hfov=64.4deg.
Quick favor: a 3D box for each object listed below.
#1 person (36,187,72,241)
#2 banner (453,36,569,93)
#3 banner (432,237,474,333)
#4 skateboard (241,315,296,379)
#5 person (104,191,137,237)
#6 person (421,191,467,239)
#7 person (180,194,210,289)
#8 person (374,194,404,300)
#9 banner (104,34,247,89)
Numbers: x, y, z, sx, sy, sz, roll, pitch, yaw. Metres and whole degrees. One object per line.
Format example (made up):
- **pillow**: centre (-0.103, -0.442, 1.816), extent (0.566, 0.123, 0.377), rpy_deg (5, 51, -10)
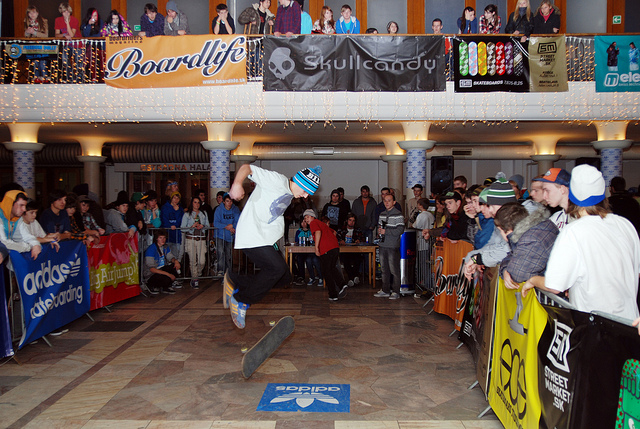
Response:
- **person**: centre (-5.159, 0.054, 9.975), extent (0.579, 1.050, 0.509), rpy_deg (-6, -8, 4)
- **banner**: centre (4.889, -3.891, 13.189), extent (2.885, 1.389, 0.195), rpy_deg (0, 10, 2)
- **banner**: centre (2.504, 1.351, 9.533), extent (0.451, 1.124, 1.499), rpy_deg (3, 4, -3)
- **skateboard**: centre (-0.878, 1.976, 8.227), extent (0.209, 0.451, 1.572), rpy_deg (8, 37, 30)
- **person**: centre (-4.700, -0.030, 11.844), extent (0.900, 0.944, 0.452), rpy_deg (9, 14, 39)
- **person**: centre (2.634, 0.070, 10.563), extent (1.065, 1.125, 0.685), rpy_deg (-1, 7, -31)
- **person**: centre (-3.234, 0.652, 13.389), extent (0.778, 2.076, 1.487), rpy_deg (-4, 11, -22)
- **person**: centre (1.541, 0.723, 11.824), extent (0.594, 2.472, 0.822), rpy_deg (-5, 9, -21)
- **banner**: centre (-3.786, -4.005, 13.396), extent (3.722, 1.318, 0.179), rpy_deg (1, 10, 3)
